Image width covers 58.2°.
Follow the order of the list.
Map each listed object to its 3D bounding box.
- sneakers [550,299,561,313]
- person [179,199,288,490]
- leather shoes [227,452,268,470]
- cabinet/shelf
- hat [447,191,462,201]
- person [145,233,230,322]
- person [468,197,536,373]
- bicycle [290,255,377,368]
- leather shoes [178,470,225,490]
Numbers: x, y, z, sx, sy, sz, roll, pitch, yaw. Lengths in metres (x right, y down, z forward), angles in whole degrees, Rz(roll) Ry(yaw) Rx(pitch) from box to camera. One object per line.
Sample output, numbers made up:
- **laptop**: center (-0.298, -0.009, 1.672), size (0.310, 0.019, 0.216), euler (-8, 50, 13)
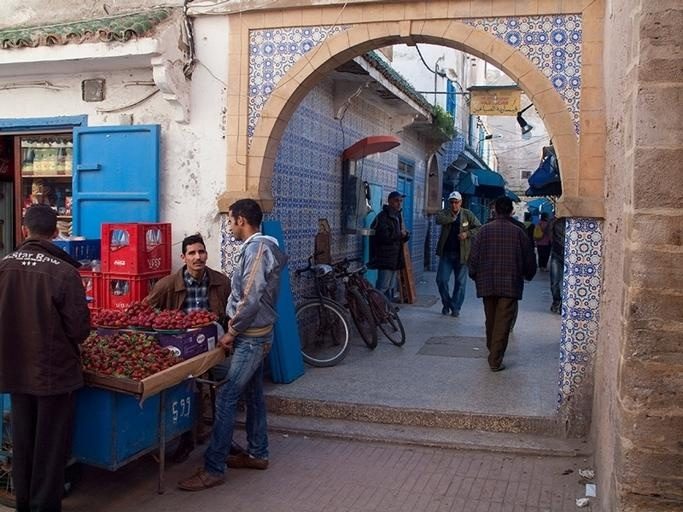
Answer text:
- **sneakers**: center (4.302, 1.000, 12.312), size (0.123, 0.150, 0.346), euler (2, 12, 19)
- **person**: center (-0.852, 0.750, 5.236), size (0.462, 2.407, 0.933), euler (7, 14, 31)
- **leather shoes**: center (-0.844, 1.831, 5.488), size (0.355, 0.147, 0.143), euler (5, 0, 6)
- **cabinet/shelf**: center (-4.187, -0.968, 8.769), size (0.766, 1.542, 0.778), euler (-5, 18, -31)
- **hat**: center (2.141, -1.109, 11.474), size (0.261, 0.153, 0.414), euler (0, 0, 22)
- **person**: center (-1.531, 0.221, 6.118), size (0.811, 0.675, 0.257), euler (-2, 8, -26)
- **person**: center (2.022, 0.342, 7.820), size (0.729, 2.151, 0.715), euler (-7, 14, -32)
- **bicycle**: center (-0.064, 0.671, 8.715), size (1.123, 1.280, 2.204), euler (1, 12, 2)
- **leather shoes**: center (-1.168, 1.868, 5.198), size (0.341, 0.141, 0.139), euler (3, -2, -22)
